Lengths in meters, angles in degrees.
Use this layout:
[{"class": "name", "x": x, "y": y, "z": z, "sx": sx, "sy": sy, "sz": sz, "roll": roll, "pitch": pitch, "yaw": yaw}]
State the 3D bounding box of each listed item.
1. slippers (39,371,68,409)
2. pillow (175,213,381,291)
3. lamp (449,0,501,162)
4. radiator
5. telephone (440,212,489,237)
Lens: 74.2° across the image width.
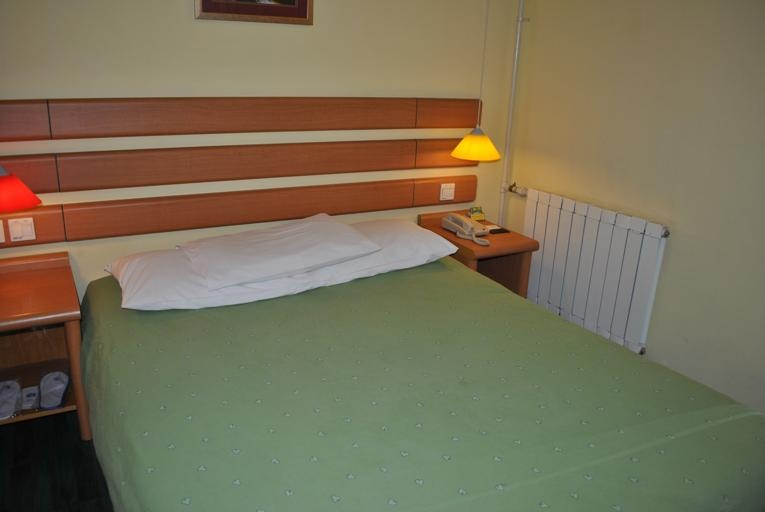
[{"class": "slippers", "x": -1.968, "y": 0.802, "z": 2.994, "sx": 0.177, "sy": 0.065, "sz": 0.287, "roll": 12, "pitch": 26, "yaw": -28}, {"class": "pillow", "x": -0.619, "y": -0.031, "z": 3.037, "sx": 0.795, "sy": 0.143, "sz": 0.541, "roll": -13, "pitch": 34, "yaw": -27}, {"class": "lamp", "x": 0.699, "y": -1.272, "z": 3.728, "sx": 0.332, "sy": 1.179, "sz": 0.532, "roll": 2, "pitch": 13, "yaw": 11}, {"class": "radiator", "x": 1.455, "y": 0.098, "z": 3.349, "sx": 0.070, "sy": 0.814, "sz": 0.946, "roll": -14, "pitch": 28, "yaw": -34}, {"class": "telephone", "x": 0.612, "y": -0.234, "z": 3.711, "sx": 0.170, "sy": 0.089, "sz": 0.242, "roll": -10, "pitch": 23, "yaw": -34}]
